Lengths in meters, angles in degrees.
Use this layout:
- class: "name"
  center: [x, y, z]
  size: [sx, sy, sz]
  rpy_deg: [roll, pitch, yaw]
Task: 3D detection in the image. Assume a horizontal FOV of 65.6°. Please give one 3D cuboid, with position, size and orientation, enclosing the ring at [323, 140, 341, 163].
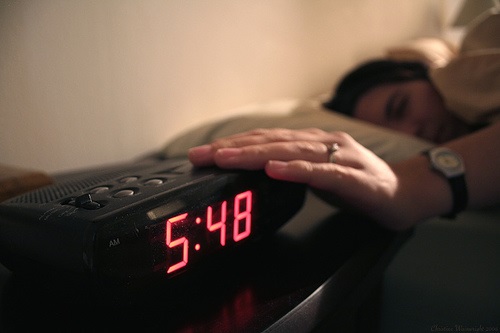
- class: "ring"
  center: [0.138, -0.025, 0.643]
  size: [0.025, 0.028, 0.009]
  rpy_deg: [2, -8, -26]
